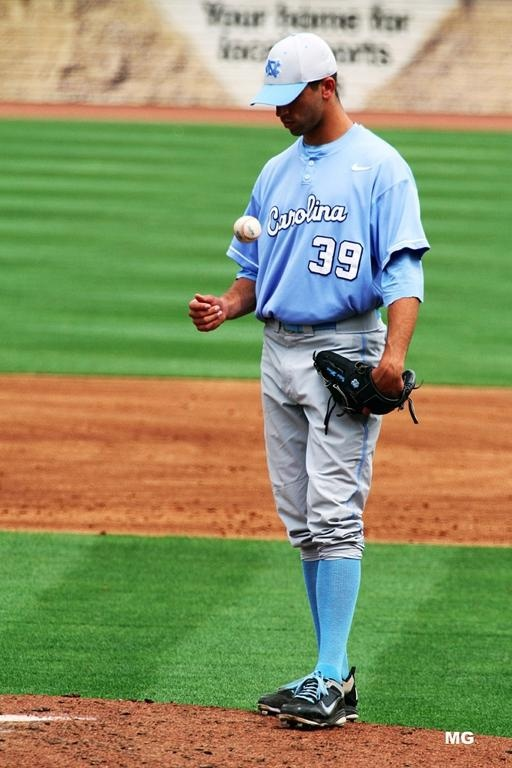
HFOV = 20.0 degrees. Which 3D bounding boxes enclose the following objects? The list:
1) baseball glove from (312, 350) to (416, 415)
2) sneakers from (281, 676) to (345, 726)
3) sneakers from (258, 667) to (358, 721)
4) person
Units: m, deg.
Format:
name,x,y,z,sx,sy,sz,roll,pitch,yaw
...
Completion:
name,x,y,z,sx,sy,sz,roll,pitch,yaw
baseball glove,0.311,0.000,4.344,0.252,0.090,0.190,34,23,13
sneakers,0.178,0.937,4.315,0.122,0.160,0.331,-1,-6,28
sneakers,0.183,0.947,4.392,0.129,0.155,0.369,2,-3,35
person,0.229,-0.010,4.428,0.548,1.979,1.038,1,20,0
